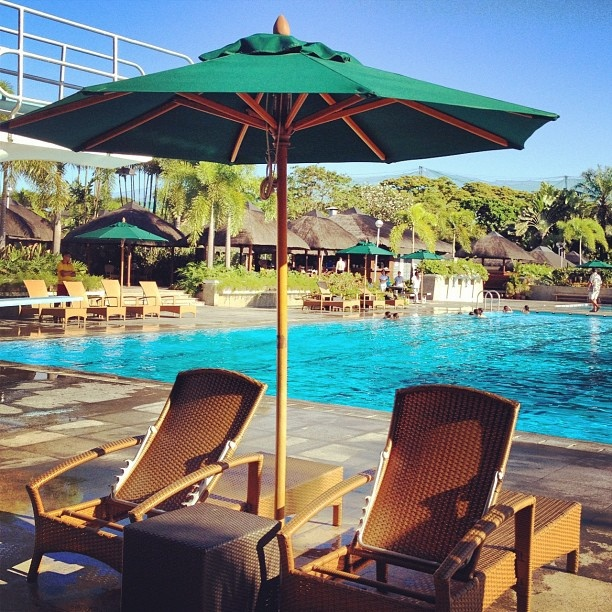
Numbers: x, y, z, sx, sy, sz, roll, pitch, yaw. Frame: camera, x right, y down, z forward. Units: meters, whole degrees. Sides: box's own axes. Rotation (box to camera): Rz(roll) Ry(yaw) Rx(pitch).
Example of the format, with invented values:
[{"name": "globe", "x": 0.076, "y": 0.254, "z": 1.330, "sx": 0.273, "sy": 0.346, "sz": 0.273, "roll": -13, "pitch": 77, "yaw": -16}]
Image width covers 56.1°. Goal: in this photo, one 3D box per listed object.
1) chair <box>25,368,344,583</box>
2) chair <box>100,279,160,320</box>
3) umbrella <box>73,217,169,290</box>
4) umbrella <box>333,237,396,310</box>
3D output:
[{"name": "chair", "x": -0.549, "y": 0.756, "z": 3.236, "sx": 0.855, "sy": 0.873, "sz": 1.892, "roll": 3, "pitch": 1, "yaw": 41}, {"name": "chair", "x": -6.352, "y": -0.271, "z": 20.403, "sx": 2.877, "sy": 1.547, "sz": 1.624, "roll": 0, "pitch": 2, "yaw": 42}, {"name": "umbrella", "x": -7.727, "y": -2.305, "z": 24.218, "sx": 4.053, "sy": 2.531, "sz": 3.716, "roll": 0, "pitch": 1, "yaw": 11}, {"name": "umbrella", "x": 3.107, "y": -2.223, "z": 30.092, "sx": 2.796, "sy": 2.386, "sz": 2.512, "roll": -6, "pitch": 17, "yaw": -21}]
